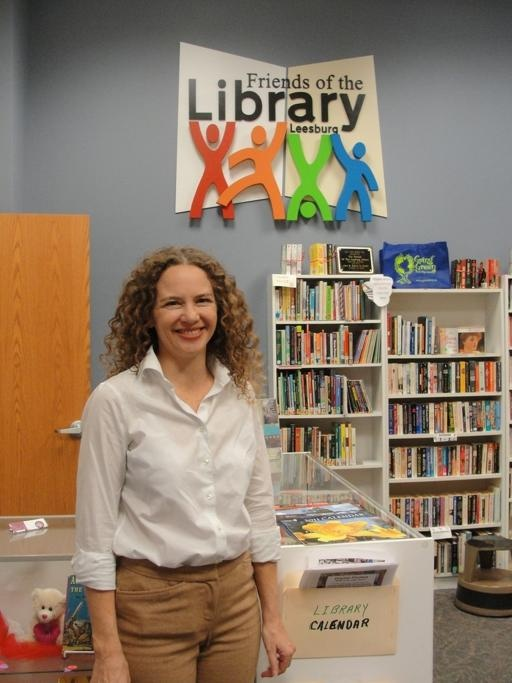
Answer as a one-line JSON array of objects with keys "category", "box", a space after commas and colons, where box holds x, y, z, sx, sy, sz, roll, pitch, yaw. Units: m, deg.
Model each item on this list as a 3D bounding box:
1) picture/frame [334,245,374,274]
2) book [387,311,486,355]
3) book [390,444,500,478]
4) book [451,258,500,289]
[{"category": "picture/frame", "box": [0.610, -0.509, 3.982, 0.193, 0.144, 0.020, 3, -19, -15]}, {"category": "book", "box": [1.180, -0.029, 4.159, 0.659, 0.214, 0.346, 1, 0, 7]}, {"category": "book", "box": [1.218, 0.752, 4.096, 0.618, 0.211, 0.210, 0, -7, -4]}, {"category": "book", "box": [1.426, -0.438, 4.147, 0.293, 0.156, 0.181, 1, 0, 15]}]
